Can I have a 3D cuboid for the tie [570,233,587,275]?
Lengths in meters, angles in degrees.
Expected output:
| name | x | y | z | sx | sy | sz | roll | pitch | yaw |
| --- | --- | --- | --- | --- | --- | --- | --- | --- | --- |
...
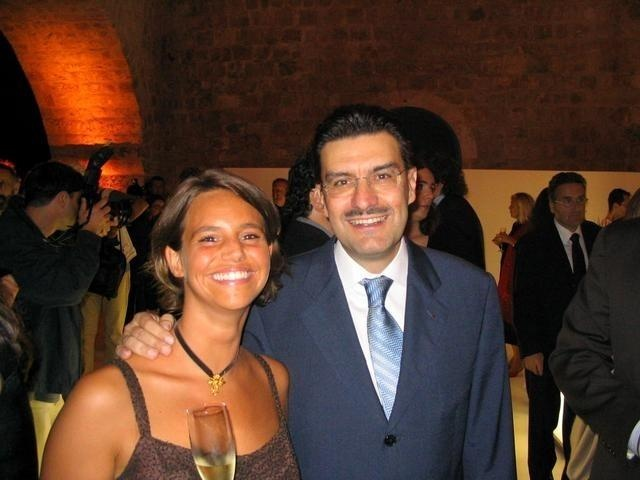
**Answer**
| name | x | y | z | sx | sy | sz | roll | pitch | yaw |
| --- | --- | --- | --- | --- | --- | --- | --- | --- | --- |
| tie | 2.162 | 0.128 | 5.224 | 0.100 | 0.126 | 0.429 | 2 | 52 | 16 |
